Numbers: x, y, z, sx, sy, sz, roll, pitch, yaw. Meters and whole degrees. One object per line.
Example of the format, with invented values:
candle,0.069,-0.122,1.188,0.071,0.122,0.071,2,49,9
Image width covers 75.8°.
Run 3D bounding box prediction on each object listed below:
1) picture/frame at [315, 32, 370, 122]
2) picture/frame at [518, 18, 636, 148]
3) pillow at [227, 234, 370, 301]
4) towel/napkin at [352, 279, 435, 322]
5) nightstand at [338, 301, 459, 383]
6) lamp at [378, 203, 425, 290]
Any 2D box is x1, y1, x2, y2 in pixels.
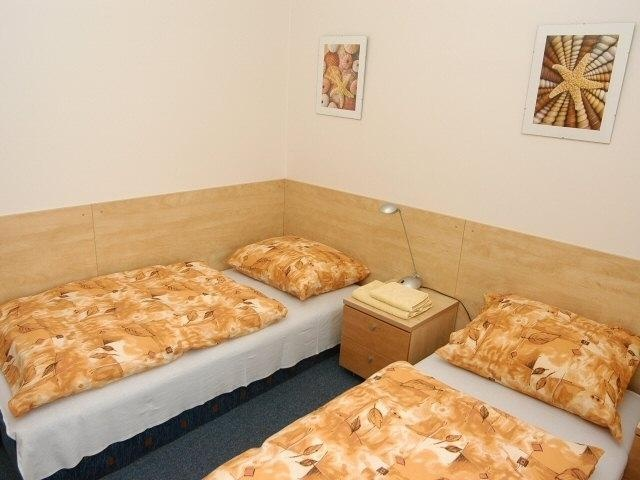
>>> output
picture/frame,0.182,-1.264,3.127,0.600,0.692,0.039,22,30,38
picture/frame,1.426,-0.873,2.243,0.675,0.767,0.038,16,26,35
pillow,-0.094,0.177,3.104,0.559,0.209,0.698,-11,20,-42
towel/napkin,0.503,0.384,2.717,0.302,0.061,0.297,-17,27,-36
nightstand,0.536,0.629,2.878,0.623,0.597,0.579,-15,29,-38
lamp,0.601,0.028,2.970,0.349,0.609,0.343,8,21,12
